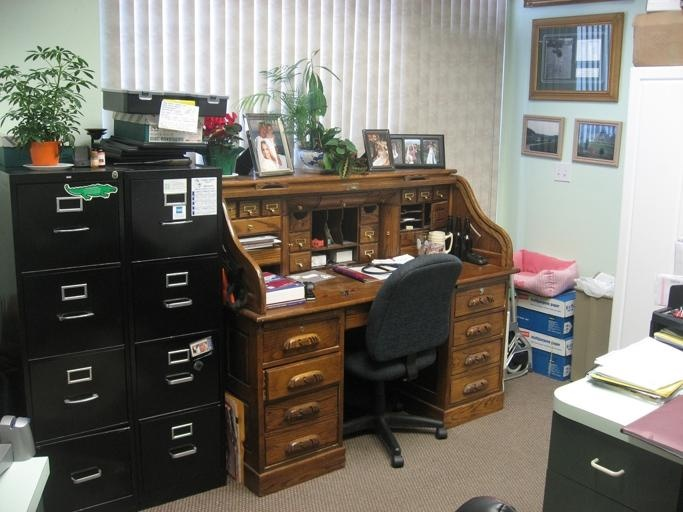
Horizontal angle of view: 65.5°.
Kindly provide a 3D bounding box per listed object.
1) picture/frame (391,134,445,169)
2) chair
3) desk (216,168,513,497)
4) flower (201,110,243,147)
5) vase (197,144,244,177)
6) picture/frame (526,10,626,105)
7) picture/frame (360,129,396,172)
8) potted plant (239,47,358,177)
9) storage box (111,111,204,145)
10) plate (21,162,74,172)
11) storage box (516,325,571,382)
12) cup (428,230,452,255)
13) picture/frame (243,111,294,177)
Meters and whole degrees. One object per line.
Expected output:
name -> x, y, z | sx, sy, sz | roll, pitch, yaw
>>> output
picture/frame -> 0.507, -0.725, 3.675 | 0.437, 0.242, 0.181 | -9, 16, -23
chair -> 0.267, 0.537, 3.124 | 0.695, 1.100, 0.754 | -5, 8, -41
desk -> 0.150, 0.332, 3.323 | 1.882, 1.571, 0.763 | -9, 13, -35
flower -> -0.620, -0.687, 2.895 | 0.170, 0.176, 0.255 | 3, 16, 22
vase -> -0.646, -0.523, 2.880 | 0.183, 0.159, 0.208 | 2, 6, 34
picture/frame -> 1.794, -1.503, 4.009 | 0.783, 0.732, 0.058 | 9, 15, 43
picture/frame -> 0.243, -0.682, 3.459 | 0.026, 0.362, 0.322 | -12, -5, 40
potted plant -> -0.265, -0.874, 3.259 | 0.645, 0.711, 0.375 | 11, 37, 28
storage box -> -0.982, -0.626, 2.664 | 0.263, 0.096, 0.260 | -9, 17, -44
plate -> -1.308, -0.401, 2.376 | 0.206, 0.032, 0.162 | -10, 16, -26
storage box -> 1.498, 0.702, 3.922 | 0.351, 0.217, 0.350 | 11, 5, 44
cup -> 0.652, -0.088, 3.603 | 0.223, 0.213, 0.140 | 0, 5, 2
picture/frame -> -0.435, -0.648, 3.093 | 0.046, 0.445, 0.396 | -17, -2, 43
